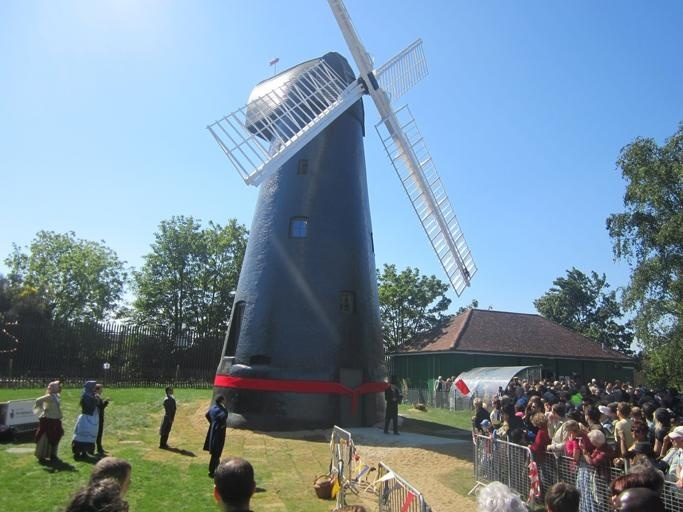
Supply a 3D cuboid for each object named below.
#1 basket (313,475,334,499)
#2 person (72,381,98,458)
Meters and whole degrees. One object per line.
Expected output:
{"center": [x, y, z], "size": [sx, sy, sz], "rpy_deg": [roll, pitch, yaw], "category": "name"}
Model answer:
{"center": [-0.432, 5.460, 10.625], "size": [0.320, 0.369, 0.416], "rpy_deg": [6, -27, -5], "category": "basket"}
{"center": [-6.831, 4.436, 12.273], "size": [0.752, 1.959, 0.569], "rpy_deg": [-6, -17, 43], "category": "person"}
